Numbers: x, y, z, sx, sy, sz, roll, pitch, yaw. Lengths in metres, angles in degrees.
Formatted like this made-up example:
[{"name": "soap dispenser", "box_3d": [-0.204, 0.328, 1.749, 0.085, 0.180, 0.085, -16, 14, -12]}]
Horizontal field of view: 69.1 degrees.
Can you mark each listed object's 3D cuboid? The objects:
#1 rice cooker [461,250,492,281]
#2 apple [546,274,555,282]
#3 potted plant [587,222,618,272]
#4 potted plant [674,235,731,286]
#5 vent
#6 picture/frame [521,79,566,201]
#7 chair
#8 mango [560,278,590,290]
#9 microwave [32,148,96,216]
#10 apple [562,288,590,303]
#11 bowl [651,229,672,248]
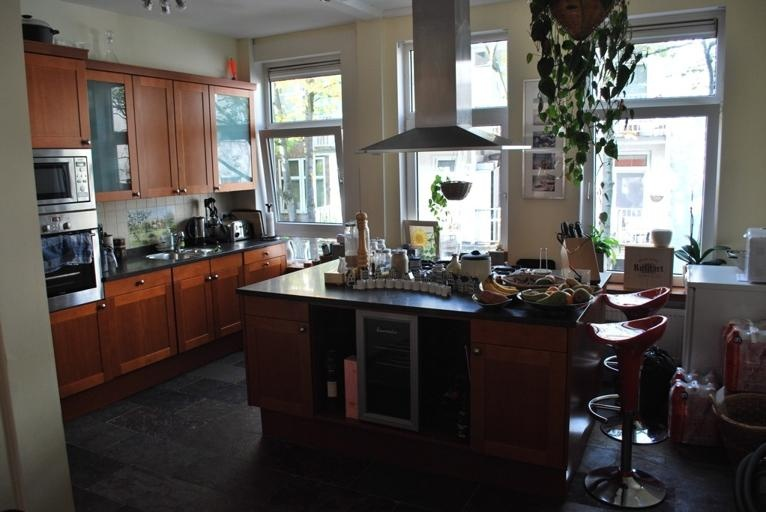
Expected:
[{"name": "rice cooker", "box_3d": [0.739, 0.078, 4.363, 0.216, 0.231, 0.214, -1, 4, -3]}, {"name": "apple", "box_3d": [1.309, 0.172, 4.327, 0.054, 0.039, 0.055, 8, 12, 39]}, {"name": "potted plant", "box_3d": [2.193, -0.050, 5.577, 0.284, 0.356, 0.303, -1, -15, -38]}, {"name": "potted plant", "box_3d": [3.048, 0.062, 5.300, 0.463, 0.367, 0.453, 31, -11, -21]}, {"name": "vent", "box_3d": [0.463, -0.928, 4.397, 1.176, 0.215, 0.476, -1, 10, 8]}, {"name": "picture/frame", "box_3d": [1.657, -1.136, 5.682, 0.462, 1.170, 0.020, -4, 25, 0]}, {"name": "chair", "box_3d": [1.857, 1.005, 4.217, 0.586, 1.354, 1.046, 2, 11, 27]}, {"name": "mango", "box_3d": [1.433, 0.214, 4.137, 0.187, 0.079, 0.084, 8, 56, 26]}, {"name": "microwave", "box_3d": [-2.788, -0.665, 4.982, 0.588, 0.521, 0.341, -2, 3, 7]}, {"name": "apple", "box_3d": [1.375, 0.279, 3.933, 0.189, 0.101, 0.245, 2, 11, 24]}, {"name": "bowl", "box_3d": [2.636, -0.170, 5.243, 0.165, 0.148, 0.180, 1, -1, 0]}]
